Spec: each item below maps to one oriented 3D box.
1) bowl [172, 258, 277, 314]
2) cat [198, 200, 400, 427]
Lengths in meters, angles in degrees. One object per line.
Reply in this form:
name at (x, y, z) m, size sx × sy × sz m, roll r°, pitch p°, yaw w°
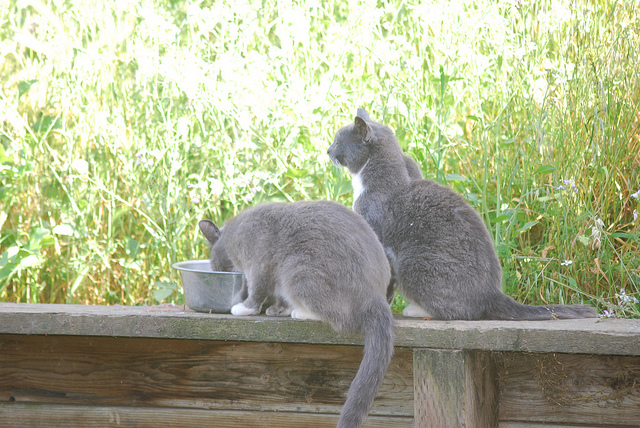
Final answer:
bowl at (-0.584, 0.418, 4.825) m, size 0.516 × 0.352 × 0.628 m, roll 1°, pitch -1°, yaw -7°
cat at (-0.114, 0.460, 4.575) m, size 1.339 × 1.061 × 0.621 m, roll 13°, pitch 16°, yaw 39°
